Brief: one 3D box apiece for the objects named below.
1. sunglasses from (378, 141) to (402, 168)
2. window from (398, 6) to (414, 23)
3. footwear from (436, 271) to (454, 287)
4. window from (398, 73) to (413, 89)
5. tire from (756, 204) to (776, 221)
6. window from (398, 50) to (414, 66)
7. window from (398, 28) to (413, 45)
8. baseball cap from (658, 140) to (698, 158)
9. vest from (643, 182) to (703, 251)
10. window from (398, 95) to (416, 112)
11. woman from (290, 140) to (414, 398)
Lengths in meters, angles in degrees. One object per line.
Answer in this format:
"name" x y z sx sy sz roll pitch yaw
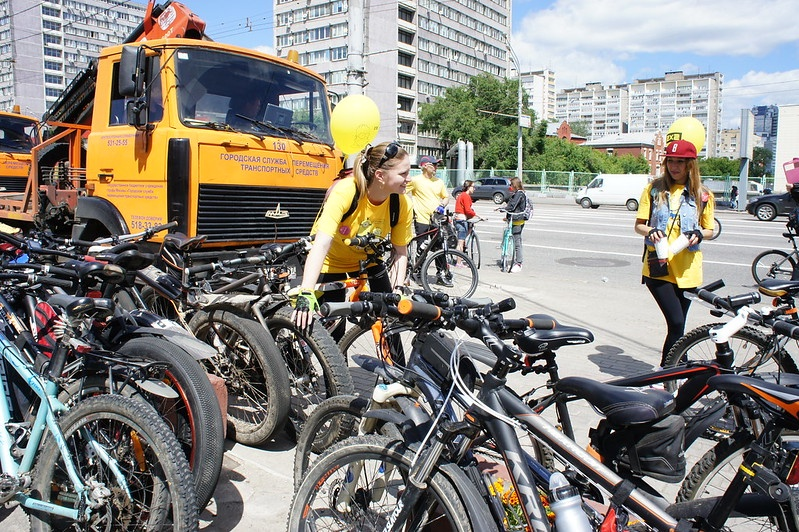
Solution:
"sunglasses" -0.088 -0.838 4.329 0.051 0.171 0.142 41 24 2
"window" 0.774 -35.430 79.745 1.402 1.798 2.736 5 10 33
"footwear" 0.879 0.266 11.076 0.476 0.361 0.161 8 10 44
"window" 0.711 -26.467 81.019 2.928 2.564 0.238 -2 8 -43
"tire" 17.529 -2.576 27.219 0.310 0.857 0.800 3 -1 -41
"window" 0.758 -29.636 80.518 0.283 2.239 2.905 12 15 39
"window" 0.582 -32.741 81.229 1.627 2.075 3.165 5 9 34
"baseball cap" 2.764 -1.148 5.594 0.270 0.179 0.240 4 11 23
"vest" 2.750 -0.486 5.687 0.623 0.776 0.413 2 -3 21
"window" 0.877 -23.243 81.037 0.280 2.283 2.965 13 16 43
"woman" -0.385 -0.060 4.587 0.947 1.815 1.696 -1 10 1
